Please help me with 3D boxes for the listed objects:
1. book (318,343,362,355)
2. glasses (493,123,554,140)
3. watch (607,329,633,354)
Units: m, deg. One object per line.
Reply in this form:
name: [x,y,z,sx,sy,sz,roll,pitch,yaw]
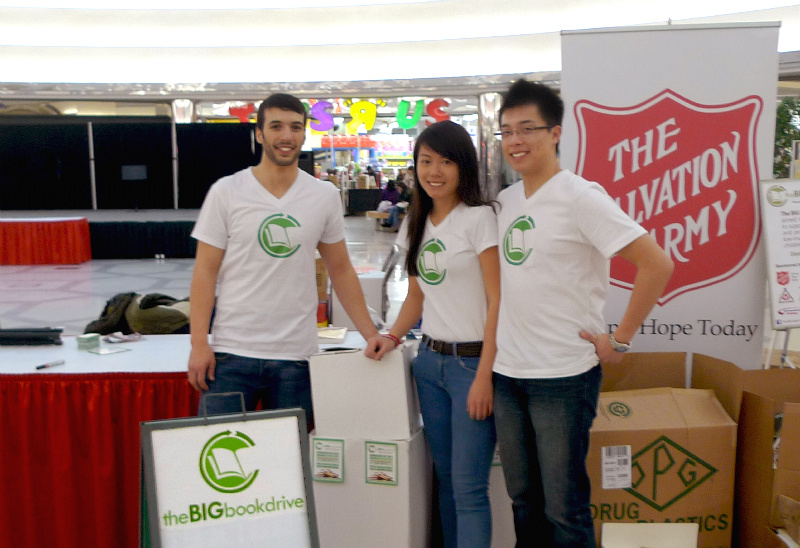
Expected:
book: [-0.319,0.394,3.497,0.255,0.048,0.448,1,0,-4]
glasses: [0.558,-0.628,2.941,0.236,0.070,0.080,-2,5,9]
watch: [0.962,0.300,2.941,0.096,0.052,0.105,-3,9,-9]
